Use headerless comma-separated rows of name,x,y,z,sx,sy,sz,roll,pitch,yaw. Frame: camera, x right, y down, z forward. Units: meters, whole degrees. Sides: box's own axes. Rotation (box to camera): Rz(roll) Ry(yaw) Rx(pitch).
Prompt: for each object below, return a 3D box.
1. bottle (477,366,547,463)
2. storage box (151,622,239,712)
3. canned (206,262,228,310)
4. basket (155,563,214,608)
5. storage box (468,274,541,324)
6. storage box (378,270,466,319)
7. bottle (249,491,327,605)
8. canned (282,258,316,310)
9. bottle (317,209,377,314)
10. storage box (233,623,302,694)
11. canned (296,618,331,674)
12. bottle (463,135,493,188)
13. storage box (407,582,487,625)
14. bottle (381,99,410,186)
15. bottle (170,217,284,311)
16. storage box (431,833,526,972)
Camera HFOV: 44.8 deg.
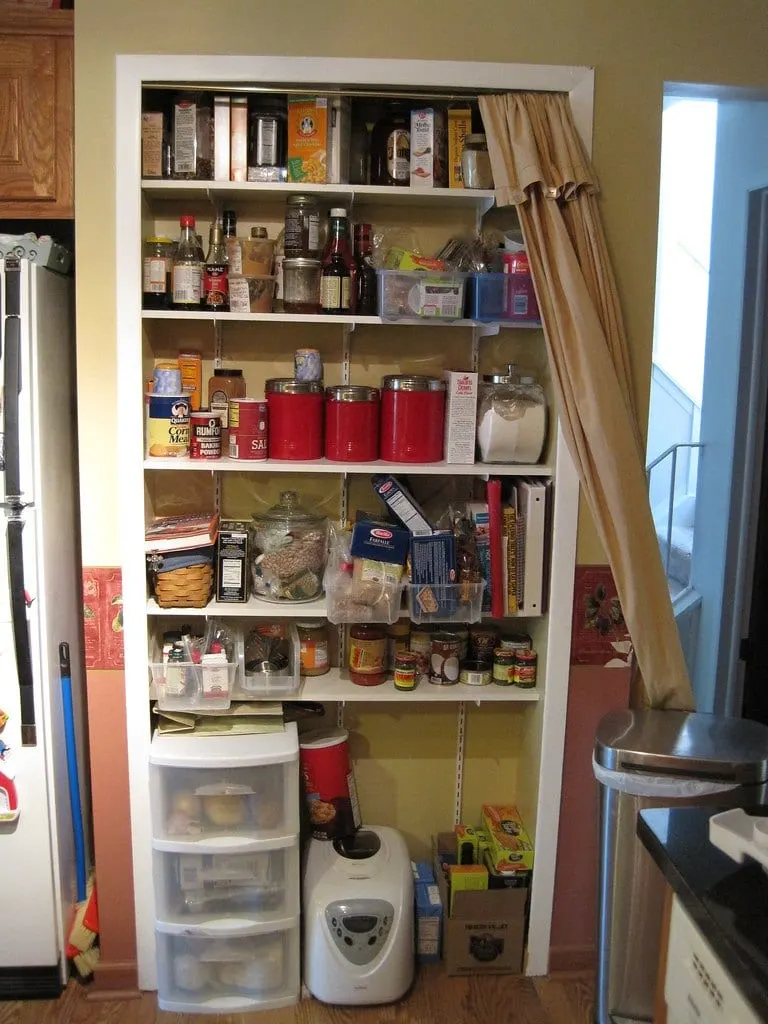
bottle,0.285,-0.245,2.299,0.188,0.210,0.205,-2,13,-4
storage box,-0.454,0.373,2.280,0.164,0.153,0.215,1,4,-3
canned,-0.385,-0.514,2.132,0.058,0.102,0.044,-4,9,-12
basket,-0.476,0.171,2.237,0.118,0.093,0.096,1,4,29
storage box,0.272,-0.470,2.106,0.115,0.076,0.118,0,10,-4
storage box,0.080,-0.489,2.102,0.195,0.109,0.068,-2,9,3
bottle,-0.214,0.078,2.361,0.224,0.331,0.234,1,9,0
canned,-0.191,-0.519,2.126,0.099,0.109,0.102,-1,3,-12
bottle,-0.086,-0.575,2.148,0.125,0.238,0.093,-10,12,-41
storage box,-0.287,0.367,2.329,0.096,0.082,0.178,2,9,-2
canned,-0.185,0.354,2.449,0.110,0.164,0.116,0,2,-4
bottle,0.213,-0.793,2.122,0.068,0.131,0.062,-1,9,5
storage box,0.150,0.212,2.204,0.136,0.070,0.098,0,1,-1
bottle,0.030,-0.847,2.149,0.062,0.187,0.069,-2,9,2
bottle,-0.375,-0.574,2.160,0.250,0.243,0.219,-3,9,-6
storage box,0.261,0.977,2.538,0.234,0.281,0.413,-3,26,-4
